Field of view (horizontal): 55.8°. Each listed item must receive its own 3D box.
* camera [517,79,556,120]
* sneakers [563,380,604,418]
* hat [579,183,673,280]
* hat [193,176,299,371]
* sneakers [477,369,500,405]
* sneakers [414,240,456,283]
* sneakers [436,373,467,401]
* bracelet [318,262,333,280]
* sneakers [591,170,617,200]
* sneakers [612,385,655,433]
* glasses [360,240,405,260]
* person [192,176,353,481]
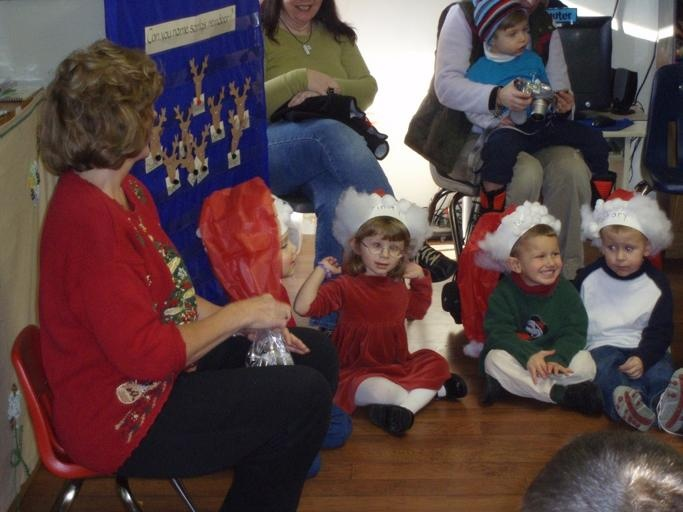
[{"bbox_3d":[0.765,-0.636,2.599,0.152,0.154,0.046,5,13,-8],"label":"camera"},{"bbox_3d":[0.785,0.466,2.124,0.120,0.102,0.055,19,24,25],"label":"sneakers"},{"bbox_3d":[1.039,-0.119,2.333,0.277,0.249,0.181,28,47,16],"label":"hat"},{"bbox_3d":[-0.279,-0.013,1.842,0.219,0.348,0.102,-29,4,-29],"label":"hat"},{"bbox_3d":[0.503,0.446,2.206,0.041,0.128,0.053,-3,30,-1],"label":"sneakers"},{"bbox_3d":[0.391,0.027,2.712,0.238,0.087,0.094,40,29,24],"label":"sneakers"},{"bbox_3d":[0.379,0.453,2.208,0.054,0.057,0.129,-11,-4,-21],"label":"sneakers"},{"bbox_3d":[-0.053,0.046,2.216,0.020,0.047,0.054,-31,40,0],"label":"bracelet"},{"bbox_3d":[1.085,-0.311,2.757,0.122,0.148,0.118,1,13,8],"label":"sneakers"},{"bbox_3d":[0.908,0.479,2.018,0.097,0.147,0.053,-39,-14,25],"label":"sneakers"},{"bbox_3d":[0.137,-0.029,2.157,0.143,0.067,0.045,-6,25,3],"label":"glasses"},{"bbox_3d":[-0.168,0.115,1.804,0.309,0.942,0.242,-12,-9,19],"label":"person"}]
